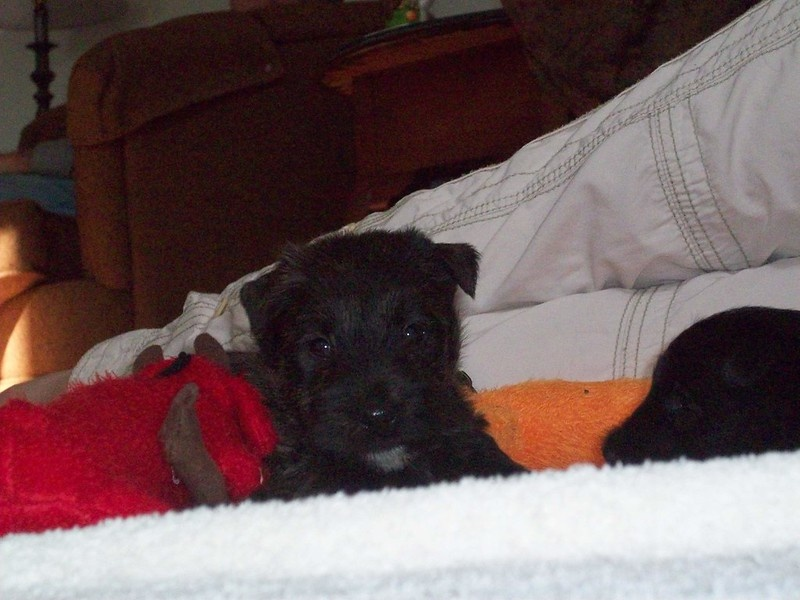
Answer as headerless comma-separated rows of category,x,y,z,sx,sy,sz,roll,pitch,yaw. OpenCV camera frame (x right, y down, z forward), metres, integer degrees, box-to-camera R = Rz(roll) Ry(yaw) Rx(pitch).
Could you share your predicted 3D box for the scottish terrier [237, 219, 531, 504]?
scottish terrier,-0.115,0.174,2.323,0.452,0.472,0.864,-6,-5,-2
